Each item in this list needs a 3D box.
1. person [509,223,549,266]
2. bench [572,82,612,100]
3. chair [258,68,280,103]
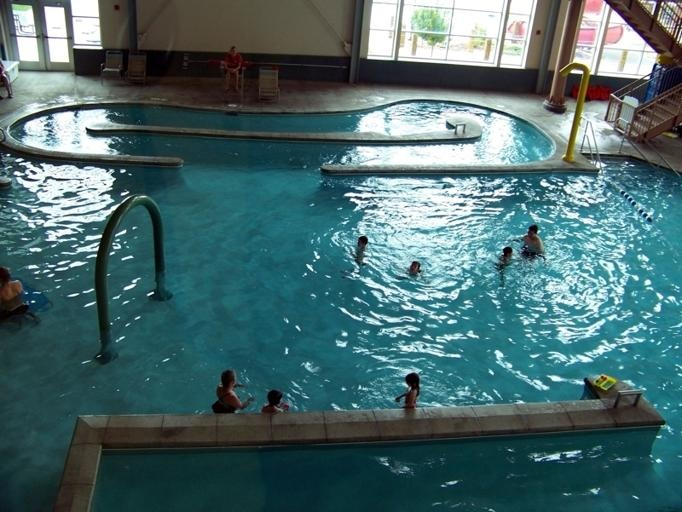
[{"bbox_3d":[4.312,-0.373,10.569,0.741,0.693,1.076,9,24,11],"label":"person"},{"bbox_3d":[12.599,-8.120,23.248,2.014,0.725,0.712,1,25,-6],"label":"bench"},{"bbox_3d":[-2.920,-6.837,18.710,0.781,1.160,0.715,-1,27,-10],"label":"chair"}]
